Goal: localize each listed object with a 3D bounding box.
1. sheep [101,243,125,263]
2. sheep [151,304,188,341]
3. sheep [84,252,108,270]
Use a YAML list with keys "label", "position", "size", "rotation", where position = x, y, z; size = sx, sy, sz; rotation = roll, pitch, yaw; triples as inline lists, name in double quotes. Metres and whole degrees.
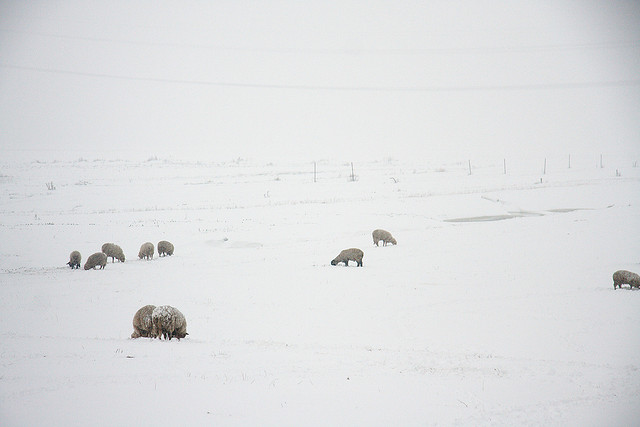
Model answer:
- label: "sheep"
  position: [-3.085, 0.607, 16.268]
  size: [0.429, 0.177, 0.315]
  rotation: [14, -91, -9]
- label: "sheep"
  position: [-2.405, 1.666, 16.167]
  size: [0.390, 0.848, 0.591]
  rotation: [0, -96, -18]
- label: "sheep"
  position: [-3.404, 0.729, 16.213]
  size: [0.357, 0.185, 0.155]
  rotation: [-9, -53, -7]
